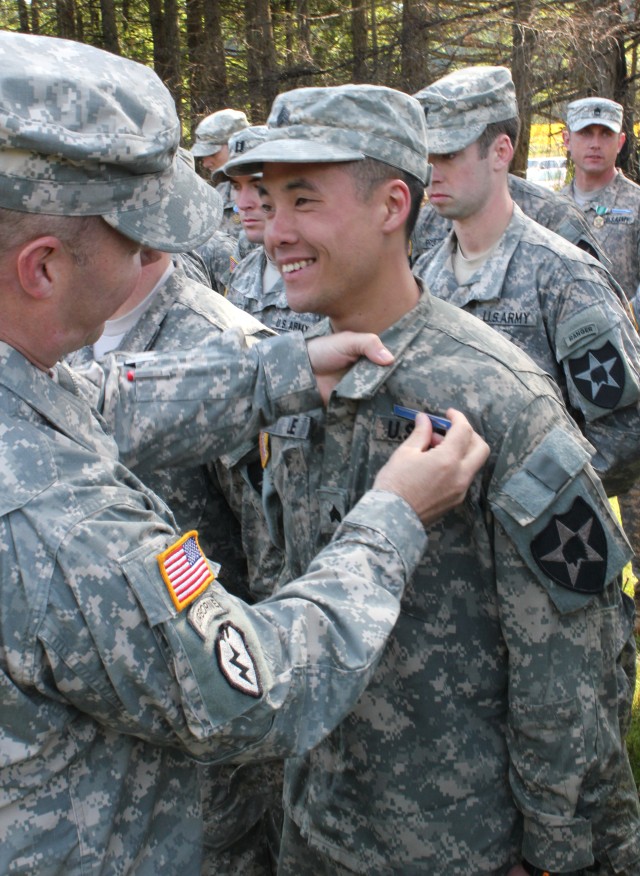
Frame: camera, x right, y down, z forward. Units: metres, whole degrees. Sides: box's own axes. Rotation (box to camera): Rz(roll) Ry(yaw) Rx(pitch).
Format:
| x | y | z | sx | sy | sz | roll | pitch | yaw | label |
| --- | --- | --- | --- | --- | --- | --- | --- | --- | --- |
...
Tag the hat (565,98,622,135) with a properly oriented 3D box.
| x | y | z | sx | sy | sz | roll | pitch | yaw | label |
| --- | --- | --- | --- | --- | --- | --- | --- | --- | --- |
| 2.339 | -2.759 | 7.930 | 0.386 | 0.204 | 0.455 | 1 | 13 | 7 | hat |
